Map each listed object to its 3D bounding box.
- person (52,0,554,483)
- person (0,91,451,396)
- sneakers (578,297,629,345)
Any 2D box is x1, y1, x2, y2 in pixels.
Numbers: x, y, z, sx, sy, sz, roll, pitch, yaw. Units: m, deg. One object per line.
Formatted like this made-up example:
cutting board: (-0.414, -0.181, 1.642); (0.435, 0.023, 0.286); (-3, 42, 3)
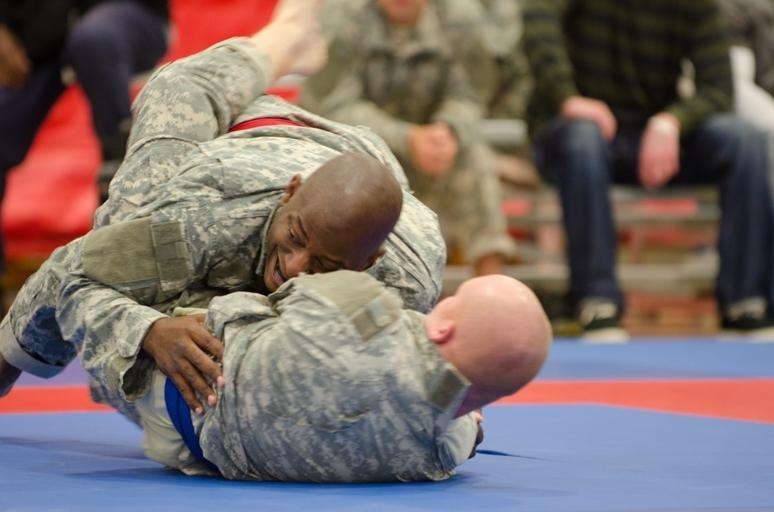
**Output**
person: (-0.322, -0.015, 3.032); (1.082, 1.360, 1.534); (-12, 16, -42)
person: (-0.640, 0.001, 3.055); (0.985, 0.557, 1.503); (-23, 20, -34)
sneakers: (1.178, 0.354, 5.312); (0.264, 0.292, 0.219); (1, 12, 12)
